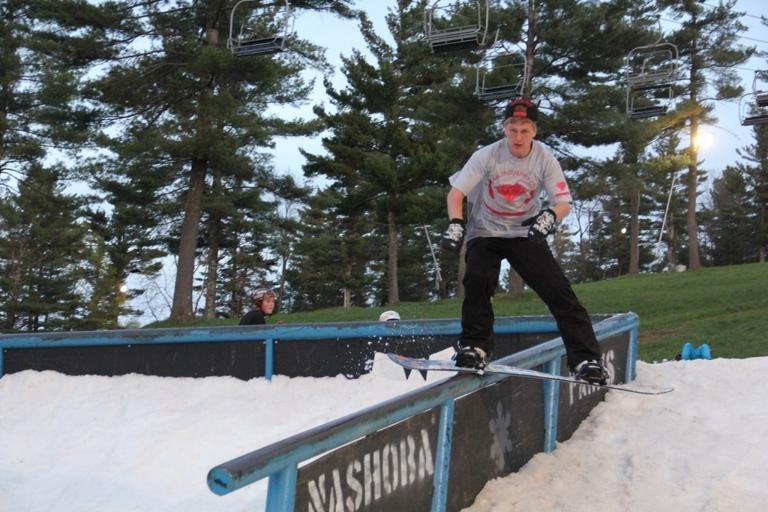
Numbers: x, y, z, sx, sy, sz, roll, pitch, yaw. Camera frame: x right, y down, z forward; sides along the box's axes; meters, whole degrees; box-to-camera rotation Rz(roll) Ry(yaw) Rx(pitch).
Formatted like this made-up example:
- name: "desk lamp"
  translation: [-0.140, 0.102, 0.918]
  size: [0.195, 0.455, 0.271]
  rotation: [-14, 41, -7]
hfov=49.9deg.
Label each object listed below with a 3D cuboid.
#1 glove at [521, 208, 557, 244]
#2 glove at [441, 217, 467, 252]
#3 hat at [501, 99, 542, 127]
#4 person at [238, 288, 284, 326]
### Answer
- name: "glove"
  translation: [3.281, -0.639, 17.370]
  size: [0.695, 0.694, 0.288]
  rotation: [-2, -4, 9]
- name: "glove"
  translation: [1.485, -0.385, 17.452]
  size: [0.420, 0.710, 0.279]
  rotation: [19, -31, 16]
- name: "hat"
  translation: [2.928, -3.072, 17.636]
  size: [0.503, 0.439, 0.667]
  rotation: [5, 15, 7]
- name: "person"
  translation: [-3.335, 1.342, 21.595]
  size: [0.851, 0.977, 1.174]
  rotation: [-1, -4, -11]
